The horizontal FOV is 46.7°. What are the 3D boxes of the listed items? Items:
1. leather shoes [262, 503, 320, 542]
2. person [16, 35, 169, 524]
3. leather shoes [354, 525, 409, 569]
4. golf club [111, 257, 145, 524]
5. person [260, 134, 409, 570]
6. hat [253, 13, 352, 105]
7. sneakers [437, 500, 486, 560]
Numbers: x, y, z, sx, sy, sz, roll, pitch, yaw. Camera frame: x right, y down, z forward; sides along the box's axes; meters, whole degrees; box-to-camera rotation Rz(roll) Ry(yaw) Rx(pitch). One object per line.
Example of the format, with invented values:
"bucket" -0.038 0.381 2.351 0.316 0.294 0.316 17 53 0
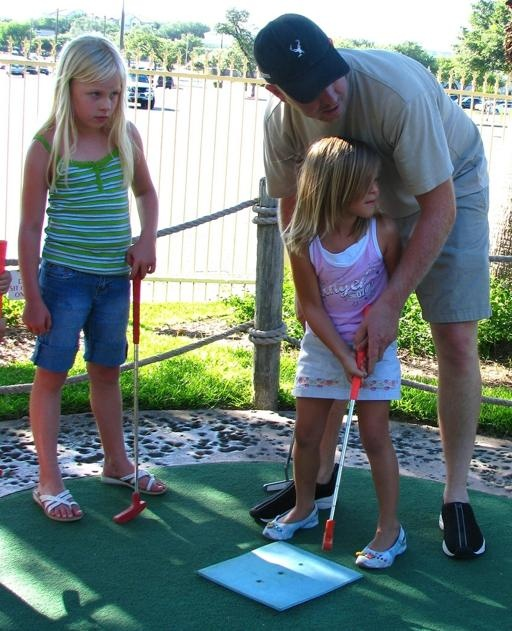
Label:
"leather shoes" 0.115 0.661 1.920 0.177 0.066 0.070 -4 2 -35
"person" -0.567 -0.152 2.093 0.307 1.588 0.534 5 7 36
"leather shoes" 0.369 0.674 1.750 0.070 0.071 0.181 -5 -4 37
"golf club" -0.387 0.281 2.060 0.173 0.777 0.163 1 5 -29
"person" 0.225 0.074 1.839 0.425 1.145 0.430 0 2 -21
"hat" 0.114 -0.690 1.592 0.150 0.273 0.257 -3 7 -36
"sneakers" 0.621 0.653 1.809 0.138 0.110 0.332 2 0 1
